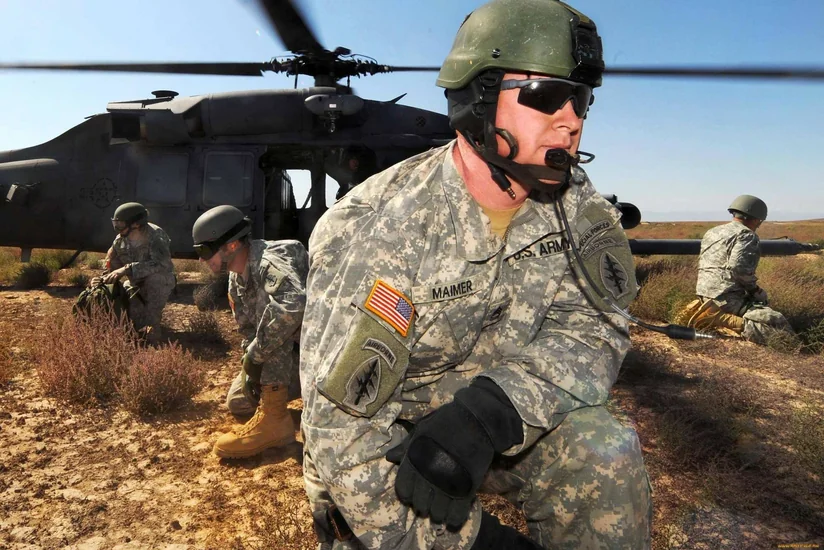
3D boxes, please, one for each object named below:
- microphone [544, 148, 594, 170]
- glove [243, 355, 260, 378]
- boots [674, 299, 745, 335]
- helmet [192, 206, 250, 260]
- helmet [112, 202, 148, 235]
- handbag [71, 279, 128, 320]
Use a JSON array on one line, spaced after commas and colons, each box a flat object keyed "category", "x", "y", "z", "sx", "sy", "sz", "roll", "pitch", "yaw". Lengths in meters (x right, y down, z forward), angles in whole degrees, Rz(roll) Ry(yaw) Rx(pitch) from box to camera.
[{"category": "microphone", "x": 1.032, "y": -0.783, "z": 4.524, "sx": 0.277, "sy": 0.144, "sz": 0.145, "roll": 5, "pitch": 9, "yaw": 10}, {"category": "glove", "x": -1.541, "y": 0.872, "z": 6.395, "sx": 0.205, "sy": 0.211, "sz": 0.093, "roll": 12, "pitch": 12, "yaw": 42}, {"category": "boots", "x": 4.033, "y": 0.551, "z": 8.930, "sx": 0.955, "sy": 0.449, "sz": 0.392, "roll": 8, "pitch": 5, "yaw": 8}, {"category": "helmet", "x": -1.955, "y": -0.404, "z": 6.618, "sx": 0.585, "sy": 0.455, "sz": 0.429, "roll": -16, "pitch": 9, "yaw": -18}, {"category": "helmet", "x": -3.725, "y": -0.732, "z": 8.632, "sx": 0.447, "sy": 0.422, "sz": 0.354, "roll": 4, "pitch": 16, "yaw": -8}, {"category": "handbag", "x": -3.850, "y": 0.283, "z": 8.258, "sx": 0.642, "sy": 0.417, "sz": 0.471, "roll": -2, "pitch": 10, "yaw": -29}]
